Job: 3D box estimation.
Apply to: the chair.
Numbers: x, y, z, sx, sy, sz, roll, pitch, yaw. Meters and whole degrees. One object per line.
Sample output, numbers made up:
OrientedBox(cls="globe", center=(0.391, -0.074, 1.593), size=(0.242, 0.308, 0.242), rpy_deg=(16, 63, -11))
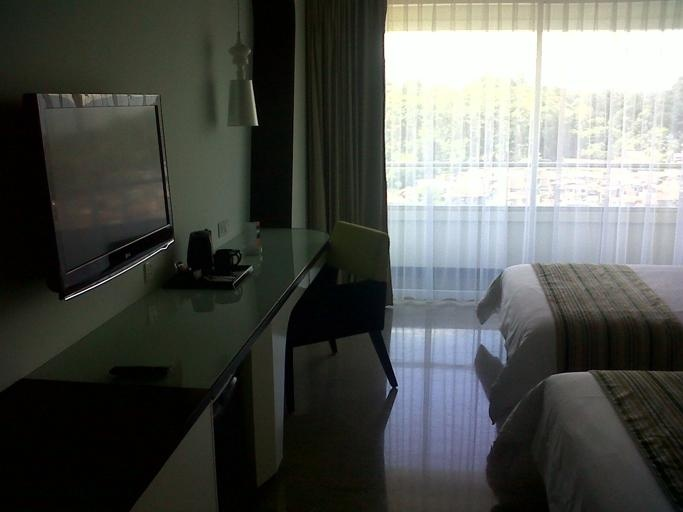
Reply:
OrientedBox(cls="chair", center=(0.000, 0.281, 3.660), size=(0.958, 1.340, 0.921), rpy_deg=(-2, 11, -14))

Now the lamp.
OrientedBox(cls="lamp", center=(-0.654, -1.237, 3.355), size=(0.169, 0.794, 0.634), rpy_deg=(-3, 17, -10))

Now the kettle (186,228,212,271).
OrientedBox(cls="kettle", center=(-0.721, -0.022, 2.679), size=(0.166, 0.269, 0.164), rpy_deg=(1, 2, -9))

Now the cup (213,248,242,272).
OrientedBox(cls="cup", center=(-0.612, 0.015, 2.812), size=(0.142, 0.139, 0.094), rpy_deg=(2, 6, -1))

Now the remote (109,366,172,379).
OrientedBox(cls="remote", center=(-0.687, 0.393, 1.777), size=(0.134, 0.027, 0.077), rpy_deg=(1, 0, 3))
